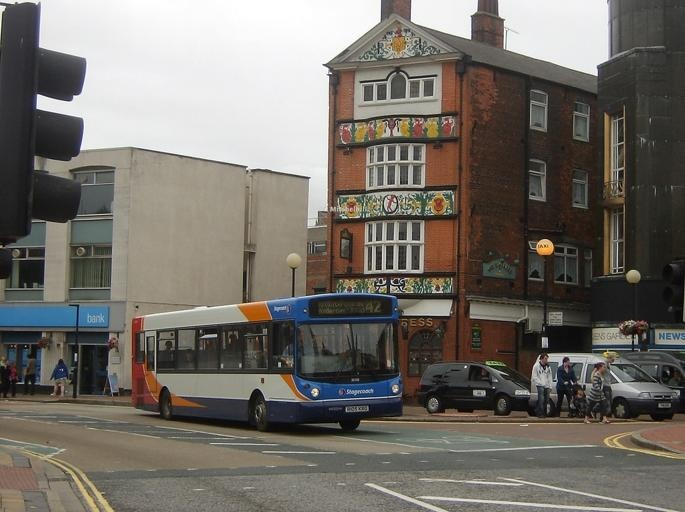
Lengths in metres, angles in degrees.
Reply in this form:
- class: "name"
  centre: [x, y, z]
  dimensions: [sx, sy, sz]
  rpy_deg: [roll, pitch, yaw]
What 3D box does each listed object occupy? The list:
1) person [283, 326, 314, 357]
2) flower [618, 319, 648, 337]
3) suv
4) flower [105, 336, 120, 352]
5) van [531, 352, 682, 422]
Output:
- class: "person"
  centre: [-1.053, 2.003, 24.285]
  dimensions: [0.542, 0.789, 0.755]
  rpy_deg: [3, -4, -26]
- class: "flower"
  centre: [10.873, 2.664, 37.710]
  dimensions: [0.737, 0.381, 0.774]
  rpy_deg: [2, -1, -20]
- class: "suv"
  centre: [4.520, 4.534, 34.835]
  dimensions: [4.492, 1.904, 1.021]
  rpy_deg: [-9, -12, 43]
- class: "flower"
  centre: [-11.259, 4.214, 49.213]
  dimensions: [0.493, 0.698, 0.578]
  rpy_deg: [2, -9, -14]
- class: "van"
  centre: [8.704, 4.218, 33.242]
  dimensions: [4.508, 2.419, 3.960]
  rpy_deg: [-5, -10, 26]
